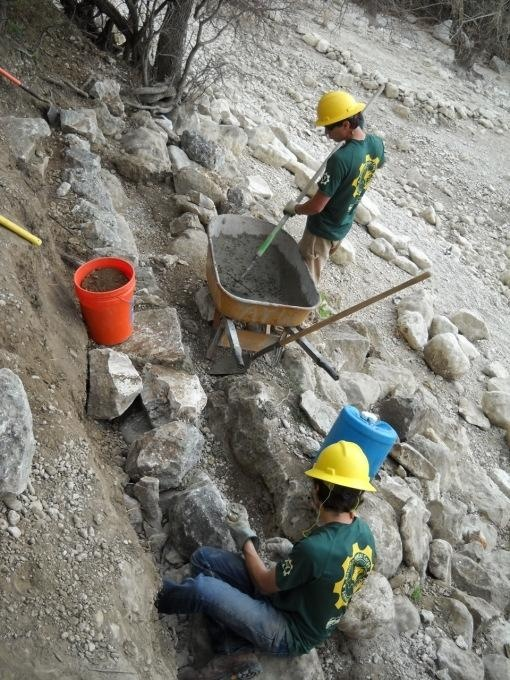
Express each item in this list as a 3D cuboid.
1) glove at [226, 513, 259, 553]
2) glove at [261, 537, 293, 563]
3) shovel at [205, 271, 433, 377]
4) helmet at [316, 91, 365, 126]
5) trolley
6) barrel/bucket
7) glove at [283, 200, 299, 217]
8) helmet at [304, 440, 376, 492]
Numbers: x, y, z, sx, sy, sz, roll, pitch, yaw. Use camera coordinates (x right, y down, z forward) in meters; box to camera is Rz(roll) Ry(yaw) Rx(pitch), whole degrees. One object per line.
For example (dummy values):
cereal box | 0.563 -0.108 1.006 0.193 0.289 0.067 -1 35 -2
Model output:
glove | -0.069 0.965 3.369 0.064 0.111 0.202 -21 23 -8
glove | 0.116 1.065 3.453 0.173 0.070 0.209 10 -14 -18
shovel | 0.448 -0.090 4.901 0.300 1.564 0.119 40 41 -32
helmet | 0.545 -1.452 4.183 0.297 0.137 0.232 -32 58 -15
trolley | -0.003 -0.191 4.512 0.759 0.595 1.416 5 46 -26
barrel/bucket | -0.842 -0.209 3.926 0.371 0.378 0.355 0 40 0
glove | 0.233 -0.864 4.453 0.088 0.105 0.048 20 21 0
helmet | 0.408 0.568 3.185 0.317 0.177 0.364 13 -2 -45
